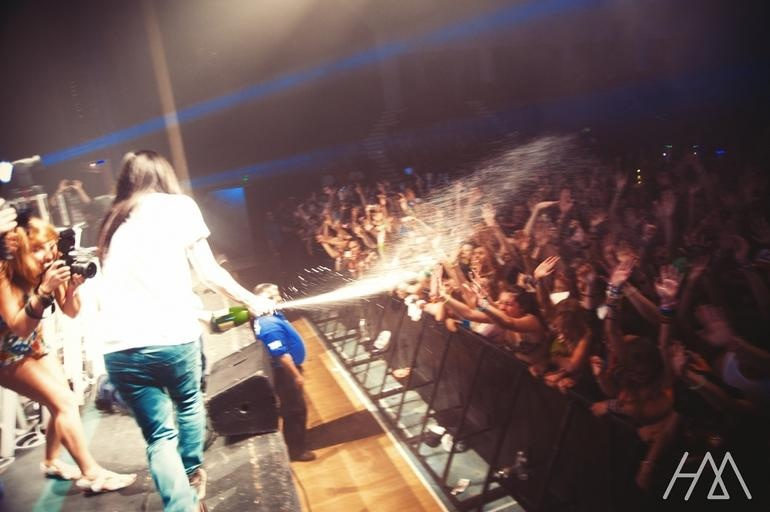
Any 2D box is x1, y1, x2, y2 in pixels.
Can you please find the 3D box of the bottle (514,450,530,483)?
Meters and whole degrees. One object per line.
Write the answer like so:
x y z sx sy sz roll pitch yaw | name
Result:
1.147 1.732 3.951 0.113 0.194 0.124 5 -9 -7 | bottle

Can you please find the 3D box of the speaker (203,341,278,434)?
-1.272 1.210 4.491 0.747 0.593 0.897 1 9 -7 | speaker
